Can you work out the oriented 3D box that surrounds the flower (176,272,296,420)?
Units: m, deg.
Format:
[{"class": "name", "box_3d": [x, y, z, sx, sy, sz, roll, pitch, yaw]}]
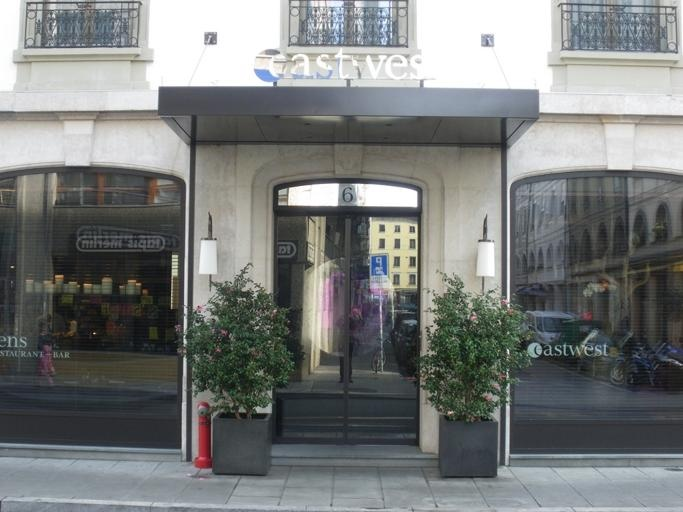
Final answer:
[{"class": "flower", "box_3d": [-1.498, 1.321, 15.044, 1.531, 2.138, 0.455, 0, -3, -5]}]

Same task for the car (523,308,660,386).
[{"class": "car", "box_3d": [4.023, 1.463, 16.404, 1.890, 0.756, 1.075, 6, -2, 1]}]

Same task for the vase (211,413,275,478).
[{"class": "vase", "box_3d": [-1.472, 2.831, 15.311, 0.865, 0.805, 0.842, 0, -5, 0]}]

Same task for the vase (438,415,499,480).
[{"class": "vase", "box_3d": [1.940, 2.866, 15.450, 0.899, 0.846, 0.846, 0, -3, -2]}]

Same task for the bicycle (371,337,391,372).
[{"class": "bicycle", "box_3d": [0.635, 1.589, 16.458, 0.436, 0.547, 0.371, 2, -2, -36]}]
